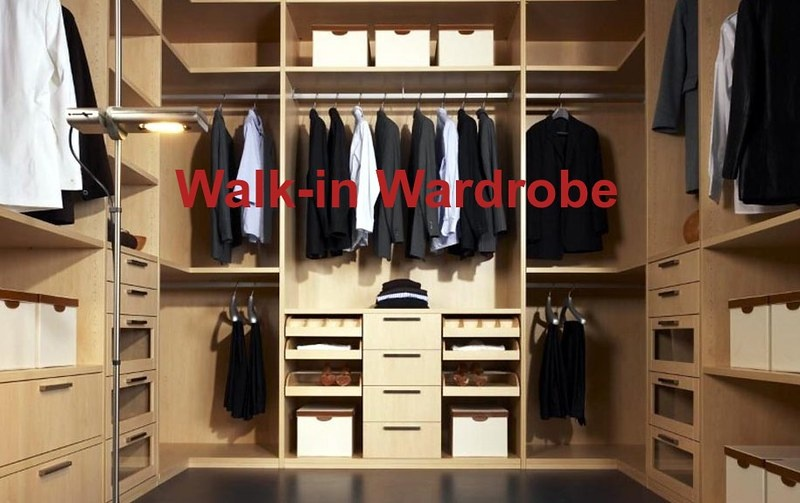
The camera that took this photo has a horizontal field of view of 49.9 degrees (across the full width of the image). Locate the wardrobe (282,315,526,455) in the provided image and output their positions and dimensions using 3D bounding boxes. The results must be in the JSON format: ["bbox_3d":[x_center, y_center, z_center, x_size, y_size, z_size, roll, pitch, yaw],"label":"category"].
[{"bbox_3d":[0.018,0.914,6.576,1.652,1.178,0.636,1,16,1],"label":"wardrobe"}]

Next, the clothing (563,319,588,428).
[{"bbox_3d":[1.298,0.881,6.427,0.177,0.736,0.283,2,10,10],"label":"clothing"}]

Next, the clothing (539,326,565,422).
[{"bbox_3d":[1.124,0.926,6.437,0.105,0.665,0.184,-3,2,-43],"label":"clothing"}]

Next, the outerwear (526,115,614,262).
[{"bbox_3d":[1.283,-0.510,6.606,0.626,1.084,0.394,1,10,3],"label":"outerwear"}]

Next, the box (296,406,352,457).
[{"bbox_3d":[-0.549,1.316,6.399,0.317,0.261,0.346,0,-6,-2],"label":"box"}]

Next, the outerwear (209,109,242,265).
[{"bbox_3d":[-1.340,-0.503,6.589,0.228,1.161,0.443,-1,10,-11],"label":"outerwear"}]

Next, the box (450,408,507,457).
[{"bbox_3d":[0.593,1.266,6.488,0.421,0.364,0.461,-1,15,1],"label":"box"}]
